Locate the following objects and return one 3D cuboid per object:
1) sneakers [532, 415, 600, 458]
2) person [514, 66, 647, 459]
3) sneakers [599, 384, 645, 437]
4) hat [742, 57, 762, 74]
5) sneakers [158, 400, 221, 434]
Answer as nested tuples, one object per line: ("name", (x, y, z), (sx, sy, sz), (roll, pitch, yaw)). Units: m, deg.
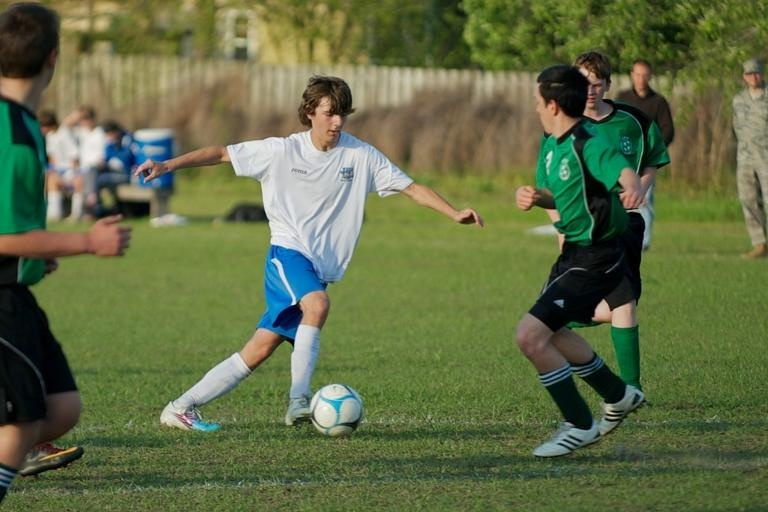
("sneakers", (1.306, 1.306, 9.799), (0.570, 0.221, 0.186), (-17, 8, -6))
("person", (1.428, 0.023, 9.807), (0.936, 2.706, 0.939), (1, 13, 9))
("sneakers", (1.757, 1.167, 10.029), (0.166, 0.378, 0.127), (45, 3, -28))
("hat", (3.089, -1.577, 11.341), (0.155, 0.131, 0.074), (2, 14, 12))
("sneakers", (-1.436, 1.204, 10.147), (0.521, 0.224, 0.182), (10, -2, -6))
